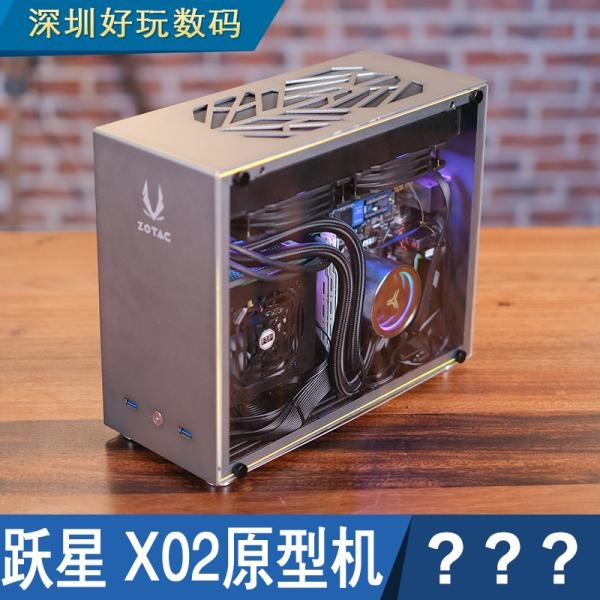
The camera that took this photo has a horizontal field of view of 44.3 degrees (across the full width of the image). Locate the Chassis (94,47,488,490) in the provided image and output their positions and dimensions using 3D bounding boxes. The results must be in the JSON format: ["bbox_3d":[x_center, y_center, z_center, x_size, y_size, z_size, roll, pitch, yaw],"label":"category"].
[{"bbox_3d":[0.005,-0.024,1.343,0.864,0.639,0.404,-22,41,-33],"label":"Chassis"}]
